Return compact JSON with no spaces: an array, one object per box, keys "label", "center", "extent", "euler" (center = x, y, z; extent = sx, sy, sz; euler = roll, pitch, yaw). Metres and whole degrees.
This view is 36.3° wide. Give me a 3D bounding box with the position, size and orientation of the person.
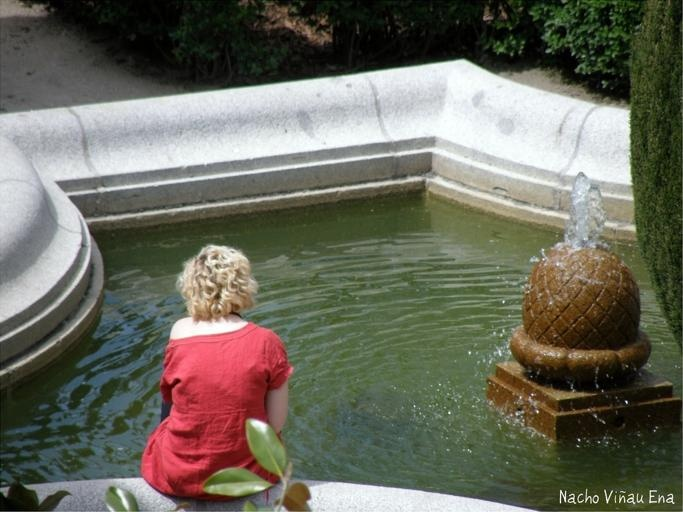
[{"label":"person","center":[-1.179,1.159,9.785],"extent":[1.419,1.987,1.081],"euler":[-7,24,-13]}]
